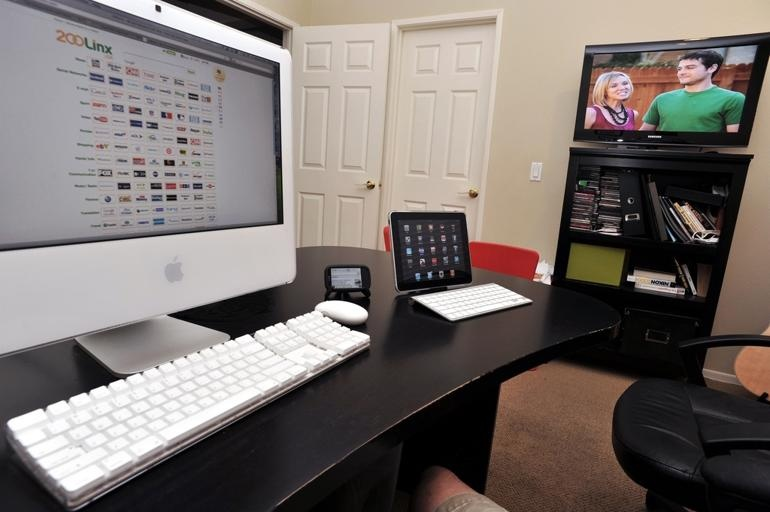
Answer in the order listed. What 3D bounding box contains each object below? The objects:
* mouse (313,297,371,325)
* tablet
[{"bbox_3d":[-0.110,0.122,1.172,0.095,0.027,0.068,17,15,33],"label":"mouse"},{"bbox_3d":[0.135,-0.008,1.460,0.263,0.219,0.019,-4,-5,-33],"label":"tablet"}]
